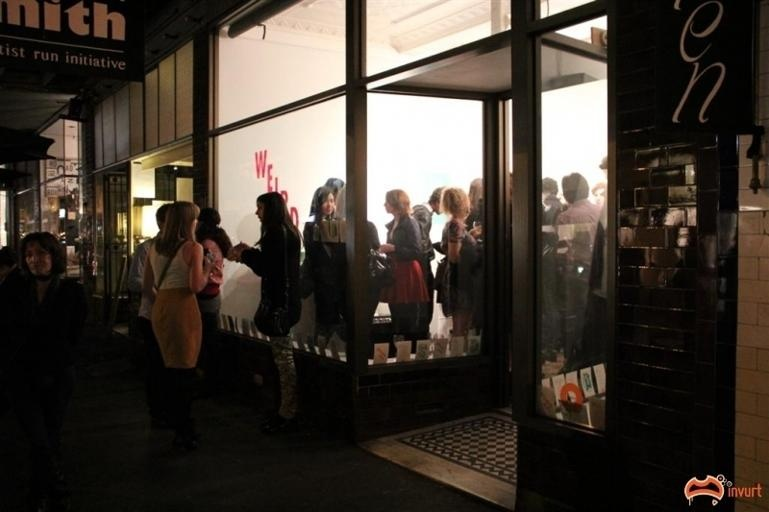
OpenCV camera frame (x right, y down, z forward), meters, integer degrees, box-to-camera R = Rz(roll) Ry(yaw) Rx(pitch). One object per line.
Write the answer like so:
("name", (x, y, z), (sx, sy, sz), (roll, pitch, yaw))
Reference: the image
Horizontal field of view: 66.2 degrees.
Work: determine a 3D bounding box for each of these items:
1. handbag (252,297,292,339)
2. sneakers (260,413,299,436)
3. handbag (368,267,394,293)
("handbag", (-1.014, 0.558, 5.246), (0.241, 0.349, 0.125), (-1, -5, 5))
("sneakers", (-0.976, 1.544, 5.418), (0.299, 0.125, 0.160), (6, 2, -11))
("handbag", (-0.035, 0.226, 5.508), (0.204, 0.209, 0.197), (0, 3, -12))
